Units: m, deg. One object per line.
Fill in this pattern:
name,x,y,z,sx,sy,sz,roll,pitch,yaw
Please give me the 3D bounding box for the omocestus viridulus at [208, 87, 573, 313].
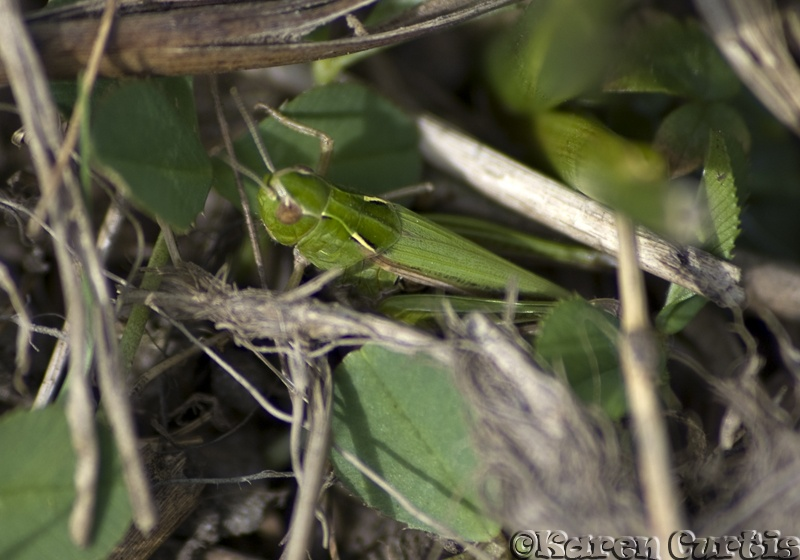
omocestus viridulus,-0.032,-0.044,1.499,0.147,0.425,0.291,-36,40,41
